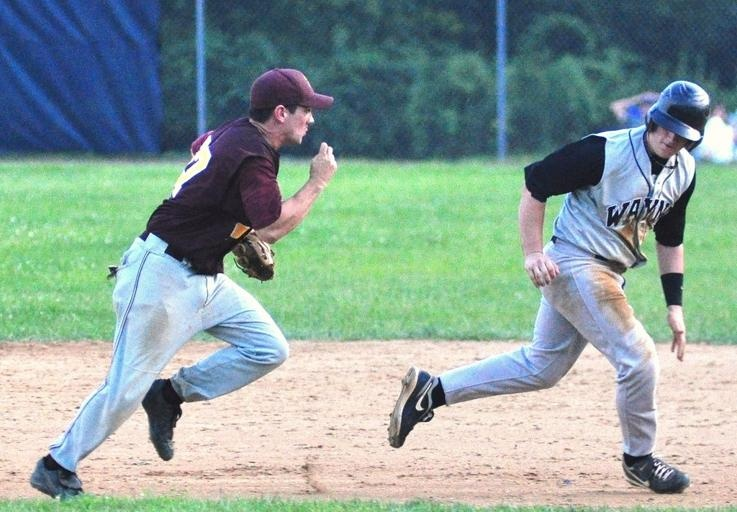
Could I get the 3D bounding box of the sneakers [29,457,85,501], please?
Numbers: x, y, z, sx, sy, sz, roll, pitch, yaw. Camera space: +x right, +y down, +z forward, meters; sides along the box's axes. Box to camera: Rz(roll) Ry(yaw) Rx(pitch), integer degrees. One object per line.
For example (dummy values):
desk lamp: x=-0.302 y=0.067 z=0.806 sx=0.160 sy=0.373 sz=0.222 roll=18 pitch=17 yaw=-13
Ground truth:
sneakers: x=-2.477 y=1.814 z=10.404 sx=0.521 sy=0.242 sz=0.212 roll=26 pitch=12 yaw=10

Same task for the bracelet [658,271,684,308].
bracelet: x=2.591 y=0.274 z=10.867 sx=0.204 sy=0.285 sz=0.203 roll=6 pitch=-23 yaw=-25

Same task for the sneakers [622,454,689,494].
sneakers: x=2.390 y=1.782 z=10.739 sx=0.247 sy=0.269 sz=0.674 roll=-18 pitch=11 yaw=-35

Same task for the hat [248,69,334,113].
hat: x=-0.646 y=-1.404 z=10.627 sx=0.774 sy=0.343 sz=0.460 roll=-4 pitch=11 yaw=-7

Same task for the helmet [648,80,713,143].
helmet: x=2.542 y=-1.169 z=10.448 sx=0.416 sy=0.391 sz=0.531 roll=31 pitch=29 yaw=-8

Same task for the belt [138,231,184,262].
belt: x=-1.646 y=-0.075 z=10.369 sx=0.276 sy=0.064 sz=0.271 roll=35 pitch=-1 yaw=-28

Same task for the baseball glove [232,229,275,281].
baseball glove: x=-0.963 y=-0.009 z=10.893 sx=0.344 sy=0.393 sz=0.141 roll=-39 pitch=16 yaw=-7
